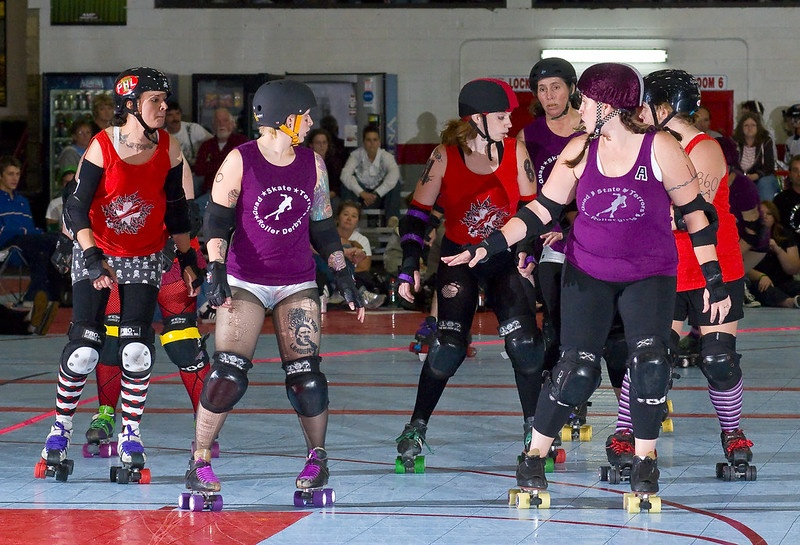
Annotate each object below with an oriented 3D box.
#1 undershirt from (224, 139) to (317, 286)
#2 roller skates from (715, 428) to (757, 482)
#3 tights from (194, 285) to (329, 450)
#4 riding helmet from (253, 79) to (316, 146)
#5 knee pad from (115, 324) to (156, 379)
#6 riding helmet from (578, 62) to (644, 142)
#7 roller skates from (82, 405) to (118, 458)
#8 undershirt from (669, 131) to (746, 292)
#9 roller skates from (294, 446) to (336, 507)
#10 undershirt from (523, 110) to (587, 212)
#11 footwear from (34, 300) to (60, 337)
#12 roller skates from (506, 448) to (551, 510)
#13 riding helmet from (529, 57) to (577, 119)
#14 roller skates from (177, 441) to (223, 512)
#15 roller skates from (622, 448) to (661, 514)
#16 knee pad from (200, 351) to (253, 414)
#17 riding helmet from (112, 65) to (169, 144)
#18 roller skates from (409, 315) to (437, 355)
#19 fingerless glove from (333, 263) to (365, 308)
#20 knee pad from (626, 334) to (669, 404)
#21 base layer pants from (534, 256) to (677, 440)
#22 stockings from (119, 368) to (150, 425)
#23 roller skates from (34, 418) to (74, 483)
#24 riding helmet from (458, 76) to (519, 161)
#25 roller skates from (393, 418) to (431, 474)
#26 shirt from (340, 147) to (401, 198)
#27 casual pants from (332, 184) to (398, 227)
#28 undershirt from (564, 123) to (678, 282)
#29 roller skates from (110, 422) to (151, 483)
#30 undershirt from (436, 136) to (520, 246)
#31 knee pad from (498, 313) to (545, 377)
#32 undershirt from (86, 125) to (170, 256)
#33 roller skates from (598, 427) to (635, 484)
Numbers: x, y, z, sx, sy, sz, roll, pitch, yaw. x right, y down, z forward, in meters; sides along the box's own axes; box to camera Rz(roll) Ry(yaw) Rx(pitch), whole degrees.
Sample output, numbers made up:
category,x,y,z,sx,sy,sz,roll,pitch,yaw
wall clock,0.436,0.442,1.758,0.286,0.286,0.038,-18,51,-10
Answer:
category,x,y,z,sx,sy,sz,roll,pitch,yaw
undershirt,-0.719,-0.330,5.393,0.533,0.802,0.377,6,-3,-21
roller skates,2.163,1.156,5.842,0.206,0.300,0.435,-3,0,13
tights,-0.774,0.576,5.165,0.732,0.342,1.356,3,37,-8
riding helmet,-0.663,-0.972,5.363,0.362,0.398,0.298,-5,24,-8
knee pad,-1.655,0.486,5.680,0.227,0.322,0.144,3,12,-2
riding helmet,1.183,-1.023,5.160,0.396,0.364,0.339,4,22,1
roller skates,-2.047,1.089,6.259,0.173,0.328,0.494,2,-4,-7
undershirt,2.007,-0.460,6.066,0.466,1.142,0.629,-3,0,-24
roller skates,-0.514,1.202,5.324,0.194,0.321,0.431,-2,-4,11
undershirt,1.048,-0.809,6.682,0.634,0.877,0.453,-2,3,2
footwear,-4.128,0.530,10.694,0.162,0.516,0.189,25,-3,-42
roller skates,0.766,1.183,5.346,0.214,0.322,0.435,2,6,4
riding helmet,1.087,-1.426,6.626,0.345,0.457,0.459,1,-19,12
roller skates,-1.141,1.147,5.240,0.197,0.441,0.241,6,-16,-28
roller skates,1.412,1.211,5.262,0.184,0.300,0.498,2,-2,14
knee pad,-0.987,0.621,5.149,0.263,0.347,0.155,30,2,-8
riding helmet,-1.583,-1.037,5.669,0.315,0.452,0.298,-6,-4,15
roller skates,0.227,0.624,9.042,0.158,0.307,0.562,4,10,8
fingerless glove,-0.320,0.096,5.532,0.127,0.106,0.331,-10,52,-23
knee pad,1.401,0.537,5.097,0.228,0.355,0.177,1,0,8
base layer pants,1.124,0.436,5.255,0.779,1.519,0.465,7,4,26
stockings,-1.695,0.799,5.857,0.188,0.194,0.555,-2,16,-15
roller skates,-2.159,1.100,5.752,0.211,0.317,0.426,8,5,-16
riding helmet,0.564,-1.045,6.187,0.467,0.689,0.421,-4,3,12
roller skates,0.065,1.117,5.891,0.194,0.293,0.288,0,6,0
shirt,-0.464,-1.564,14.018,0.692,0.574,0.826,1,24,3
casual pants,-0.360,-1.061,14.144,0.670,0.563,0.705,0,0,2
undershirt,1.241,-0.370,5.090,0.608,0.831,0.223,1,6,10
roller skates,-1.731,1.144,5.814,0.211,0.309,0.502,5,2,-25
undershirt,0.546,-0.543,6.101,0.524,0.754,0.406,-2,-1,-1
knee pad,0.780,0.455,5.790,0.251,0.380,0.143,-18,4,14
undershirt,-1.703,-0.520,5.657,0.634,1.000,0.516,-3,15,-24
roller skates,1.419,1.212,5.894,0.183,0.301,0.599,2,-4,6
